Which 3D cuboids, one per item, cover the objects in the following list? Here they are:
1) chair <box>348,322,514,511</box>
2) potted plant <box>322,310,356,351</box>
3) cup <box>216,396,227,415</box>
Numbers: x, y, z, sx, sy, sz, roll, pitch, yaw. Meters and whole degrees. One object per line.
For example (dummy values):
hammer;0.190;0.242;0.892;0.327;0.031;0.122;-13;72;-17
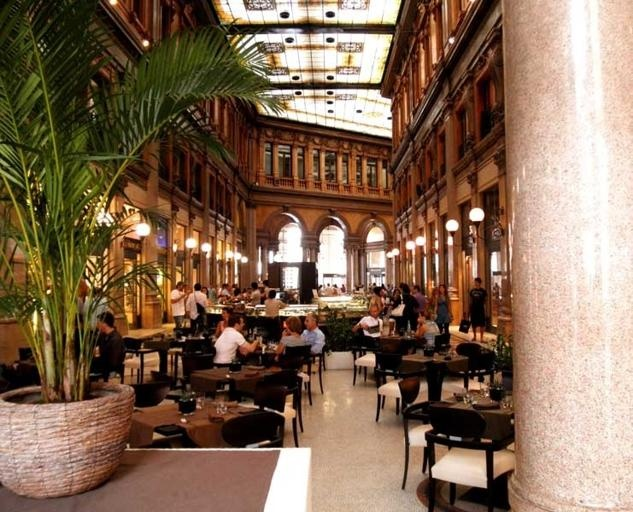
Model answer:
chair;1.227;1.687;5.462;1.199;2.031;1.192;0;0;-40
potted plant;0.419;1.592;12.626;0.648;1.108;0.939;-2;28;-14
cup;-0.928;1.452;5.200;0.107;0.221;0.113;-1;-7;0
